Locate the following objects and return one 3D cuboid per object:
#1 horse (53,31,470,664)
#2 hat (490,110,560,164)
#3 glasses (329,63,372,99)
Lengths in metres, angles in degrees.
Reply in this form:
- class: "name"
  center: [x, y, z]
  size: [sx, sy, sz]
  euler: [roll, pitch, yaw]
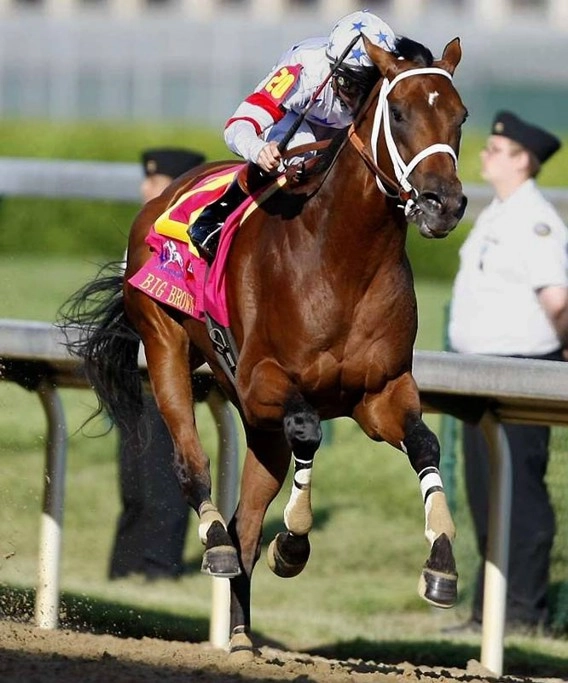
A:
- class: "horse"
  center: [-0.072, 0.084, 3.357]
  size: [0.563, 1.386, 2.211]
  euler: [0, -4, -26]
- class: "hat"
  center: [0.957, -0.763, 4.607]
  size: [0.282, 0.118, 0.223]
  euler: [23, 15, -7]
- class: "glasses"
  center: [0.159, -0.609, 2.823]
  size: [0.068, 0.082, 0.050]
  euler: [9, 12, 13]
